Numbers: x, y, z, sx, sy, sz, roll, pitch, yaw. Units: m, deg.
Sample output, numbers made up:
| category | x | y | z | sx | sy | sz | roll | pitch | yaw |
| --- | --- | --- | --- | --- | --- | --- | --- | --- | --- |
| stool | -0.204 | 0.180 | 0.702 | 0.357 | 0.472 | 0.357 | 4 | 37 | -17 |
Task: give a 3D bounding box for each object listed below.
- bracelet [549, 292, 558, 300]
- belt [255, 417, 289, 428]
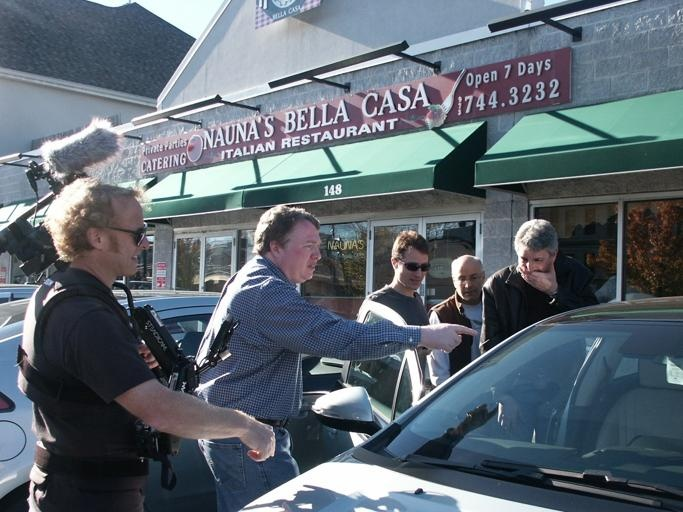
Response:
| category | x | y | z | sx | sy | sz | roll | pitch | yaw |
| --- | --- | --- | --- | --- | --- | --- | --- | --- | --- |
| bracelet | 1.389 | 0.263 | 4.776 | 0.037 | 0.012 | 0.037 | -16 | 29 | 6 |
| belt | -0.345 | 0.836 | 3.690 | 0.114 | 0.044 | 0.083 | 4 | -4 | -12 |
